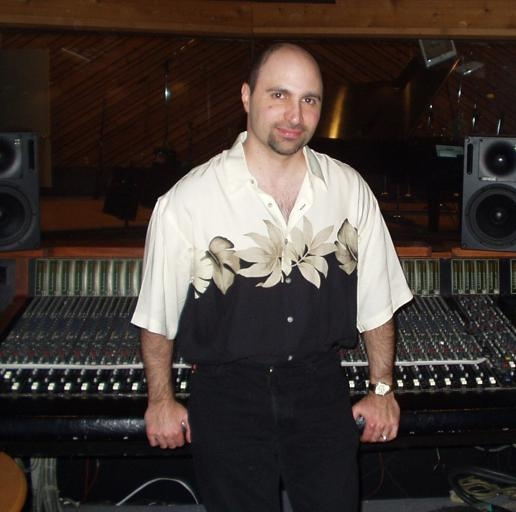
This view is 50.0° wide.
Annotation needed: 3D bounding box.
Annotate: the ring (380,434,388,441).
[{"bbox_3d":[0.418,0.595,1.824,0.023,0.012,0.034,2,-1,3],"label":"ring"}]
